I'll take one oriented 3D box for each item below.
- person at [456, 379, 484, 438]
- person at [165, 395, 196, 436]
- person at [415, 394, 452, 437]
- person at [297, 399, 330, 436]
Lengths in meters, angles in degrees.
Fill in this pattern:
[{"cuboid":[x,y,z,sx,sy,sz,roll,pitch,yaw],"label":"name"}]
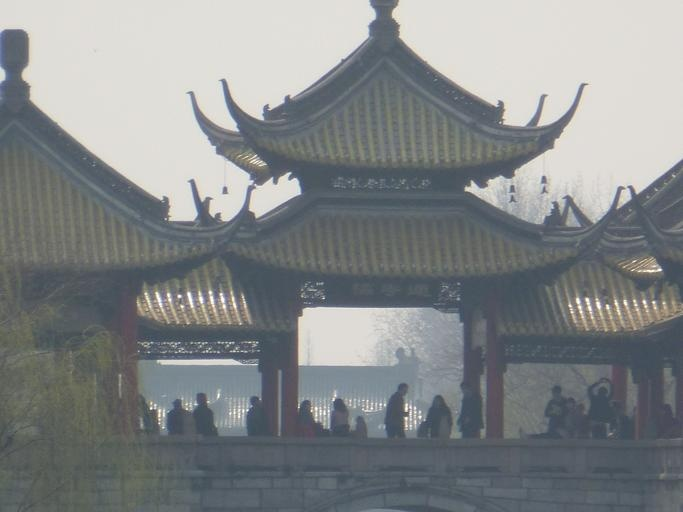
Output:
[{"cuboid":[2.821,3.391,49.626,0.566,1.345,1.146,-1,-16,4],"label":"person"},{"cuboid":[-3.583,3.471,49.258,0.612,1.001,0.737,0,5,4],"label":"person"},{"cuboid":[2.136,3.472,49.510,0.625,1.004,0.779,-10,25,-14],"label":"person"},{"cuboid":[-0.633,3.589,50.615,0.717,1.283,0.759,0,-1,-2],"label":"person"}]
